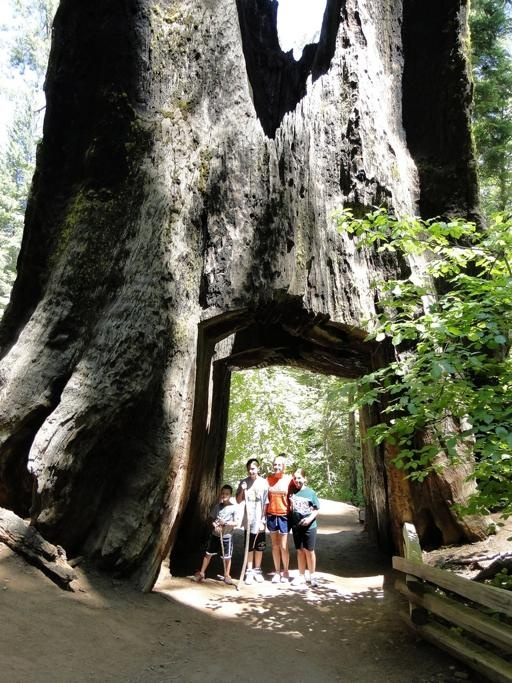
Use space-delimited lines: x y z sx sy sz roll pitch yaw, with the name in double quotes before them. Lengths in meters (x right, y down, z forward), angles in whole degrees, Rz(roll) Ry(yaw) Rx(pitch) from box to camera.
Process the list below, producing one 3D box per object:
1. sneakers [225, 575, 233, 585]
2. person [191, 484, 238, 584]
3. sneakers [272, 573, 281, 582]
"sneakers" -0.380 3.325 6.017 0.099 0.088 0.163 5 -8 -29
"person" -0.568 2.755 6.189 0.597 1.374 1.492 2 -16 -6
"sneakers" 0.282 3.403 6.196 0.135 0.133 0.253 0 -15 2
